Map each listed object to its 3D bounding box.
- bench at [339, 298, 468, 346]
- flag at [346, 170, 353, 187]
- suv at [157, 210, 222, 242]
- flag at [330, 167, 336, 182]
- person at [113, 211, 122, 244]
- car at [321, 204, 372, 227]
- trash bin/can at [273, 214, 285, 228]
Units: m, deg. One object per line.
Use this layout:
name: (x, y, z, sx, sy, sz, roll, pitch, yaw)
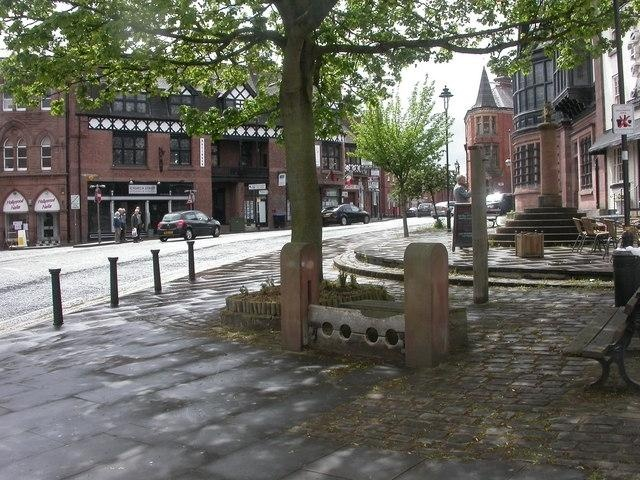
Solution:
bench: (1.078, 1.056, 8.250, 1.473, 0.502, 0.547, -1, 5, 22)
flag: (2.538, -5.511, 59.673, 0.762, 1.395, 1.343, 0, -3, 4)
suv: (-6.868, -0.799, 34.048, 1.473, 1.089, 2.810, 2, 7, 34)
flag: (1.063, -5.761, 58.547, 0.284, 1.078, 1.370, -1, 5, 24)
person: (-10.891, -0.736, 34.995, 0.387, 1.759, 1.531, -4, 5, -15)
car: (1.521, -1.739, 44.520, 1.400, 1.066, 3.154, 4, 8, 42)
trash bin/can: (-3.189, -1.491, 49.793, 1.223, 1.266, 0.855, -1, 5, -5)
